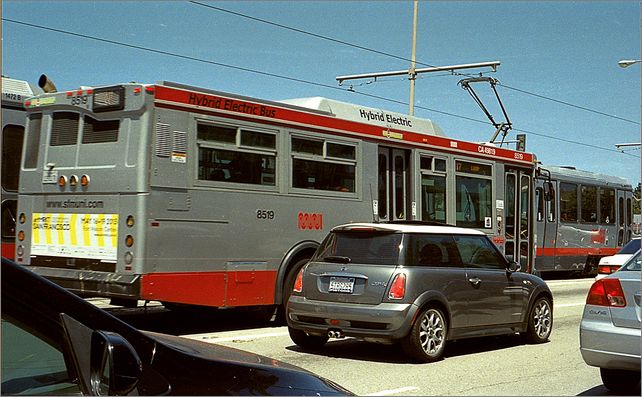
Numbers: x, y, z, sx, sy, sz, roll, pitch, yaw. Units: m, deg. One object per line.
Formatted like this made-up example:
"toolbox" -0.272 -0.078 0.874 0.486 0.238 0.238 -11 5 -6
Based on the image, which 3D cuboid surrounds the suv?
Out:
"suv" 1.813 1.506 8.826 4.264 2.200 1.356 2 -3 -23
